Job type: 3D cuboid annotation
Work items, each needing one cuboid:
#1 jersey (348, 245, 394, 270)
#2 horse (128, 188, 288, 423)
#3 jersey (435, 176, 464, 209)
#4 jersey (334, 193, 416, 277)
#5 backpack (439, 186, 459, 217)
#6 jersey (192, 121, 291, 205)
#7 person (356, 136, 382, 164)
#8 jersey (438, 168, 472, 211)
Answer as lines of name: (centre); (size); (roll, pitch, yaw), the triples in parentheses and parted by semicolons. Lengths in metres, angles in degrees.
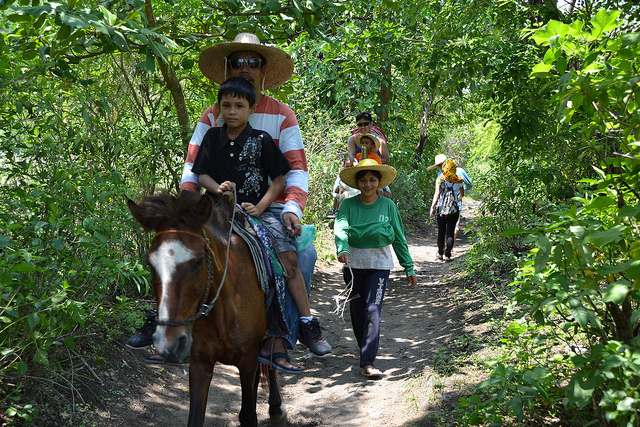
jersey: (0.747, 0.672, 7.668); (0.668, 0.411, 0.365); (-1, -12, 13)
horse: (-0.986, 1.023, 4.872); (0.840, 2.193, 1.403); (-13, 5, 1)
jersey: (3.312, -0.496, 13.262); (0.639, 0.791, 0.576); (11, 3, 11)
jersey: (0.844, 0.308, 7.818); (1.281, 1.201, 0.663); (2, -2, -6)
backpack: (3.301, -0.347, 13.406); (0.464, 0.720, 0.730); (0, 30, 3)
jersey: (-0.902, -0.537, 5.854); (1.299, 1.118, 0.712); (3, 24, -1)
person: (0.908, -1.260, 10.168); (0.455, 0.441, 0.959); (-12, 3, 7)
jersey: (3.734, -0.679, 13.883); (0.809, 1.024, 0.451); (5, 3, 27)
